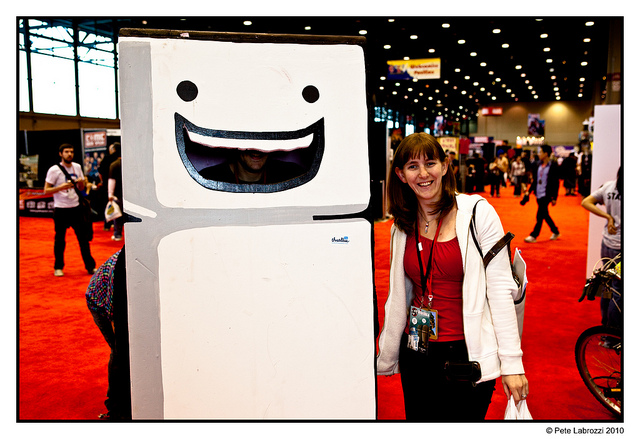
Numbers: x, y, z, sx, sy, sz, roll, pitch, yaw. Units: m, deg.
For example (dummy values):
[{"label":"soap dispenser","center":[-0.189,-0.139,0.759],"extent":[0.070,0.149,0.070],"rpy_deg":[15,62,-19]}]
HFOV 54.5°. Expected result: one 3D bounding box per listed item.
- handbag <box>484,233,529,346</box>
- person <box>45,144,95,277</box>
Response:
[{"label":"handbag","center":[1.221,0.400,4.007],"extent":[0.240,0.714,0.508],"rpy_deg":[7,12,27]},{"label":"person","center":[-3.171,-0.086,7.880],"extent":[0.542,1.678,0.596],"rpy_deg":[-2,11,-22]}]
